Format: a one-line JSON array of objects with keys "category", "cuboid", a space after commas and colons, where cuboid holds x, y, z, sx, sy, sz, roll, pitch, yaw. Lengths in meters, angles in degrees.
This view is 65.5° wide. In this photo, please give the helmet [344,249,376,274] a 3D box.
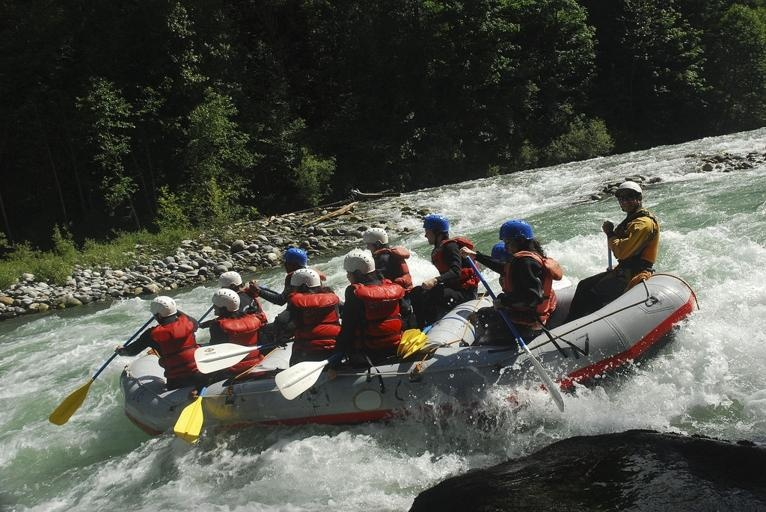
[{"category": "helmet", "cuboid": [-0.364, 0.077, 9.115, 0.436, 0.276, 0.327, 2, 7, 10]}]

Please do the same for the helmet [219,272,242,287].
[{"category": "helmet", "cuboid": [-2.624, 0.393, 10.283, 0.327, 0.264, 0.237, -21, 23, -3]}]

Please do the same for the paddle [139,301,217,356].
[{"category": "paddle", "cuboid": [-3.521, 1.246, 10.200, 1.789, 0.253, 0.282, -39, 30, 35]}]

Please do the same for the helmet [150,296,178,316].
[{"category": "helmet", "cuboid": [-3.476, 0.790, 9.533, 0.368, 0.293, 0.280, 5, 4, 37]}]

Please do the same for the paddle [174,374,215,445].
[{"category": "paddle", "cuboid": [-2.896, 2.404, 9.029, 0.288, 0.093, 0.875, 8, 31, 2]}]

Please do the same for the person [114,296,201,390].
[{"category": "person", "cuboid": [-3.963, 1.540, 10.377, 0.997, 1.631, 0.939, 21, 37, 35]}]

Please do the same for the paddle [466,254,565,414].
[{"category": "paddle", "cuboid": [1.980, 1.214, 8.836, 0.215, 3.016, 0.176, -40, -37, 13]}]

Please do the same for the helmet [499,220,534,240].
[{"category": "helmet", "cuboid": [1.989, -0.396, 8.966, 0.398, 0.240, 0.319, -5, 6, 9]}]

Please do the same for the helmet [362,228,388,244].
[{"category": "helmet", "cuboid": [-0.146, -0.351, 10.168, 0.408, 0.243, 0.301, -1, 14, -8]}]

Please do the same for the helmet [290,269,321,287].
[{"category": "helmet", "cuboid": [-1.202, 0.343, 9.225, 0.361, 0.226, 0.284, -1, 5, -7]}]

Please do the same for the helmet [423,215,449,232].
[{"category": "helmet", "cuboid": [0.892, -0.584, 10.163, 0.369, 0.209, 0.265, 15, 6, 4]}]

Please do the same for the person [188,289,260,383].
[{"category": "person", "cuboid": [-2.574, 1.343, 9.781, 1.093, 0.994, 0.722, -17, 31, -28]}]

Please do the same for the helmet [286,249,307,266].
[{"category": "helmet", "cuboid": [-1.567, 0.008, 10.697, 0.380, 0.185, 0.272, 23, 27, 16]}]

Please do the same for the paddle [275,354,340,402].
[{"category": "paddle", "cuboid": [-1.134, 1.748, 8.934, 1.089, 0.119, 0.353, -25, 66, -44]}]
